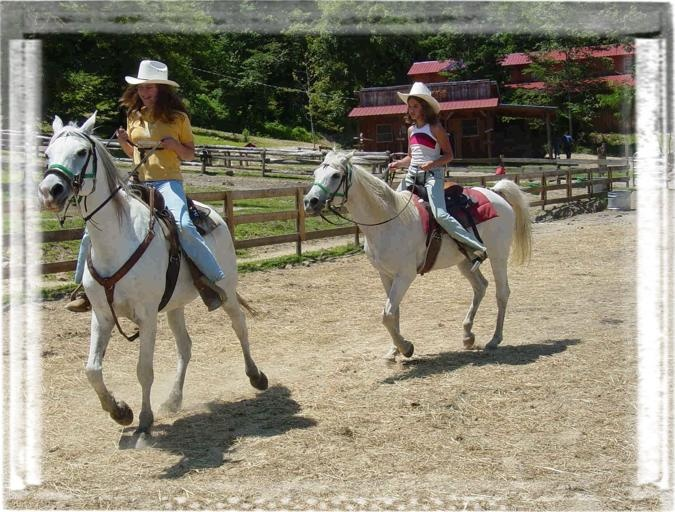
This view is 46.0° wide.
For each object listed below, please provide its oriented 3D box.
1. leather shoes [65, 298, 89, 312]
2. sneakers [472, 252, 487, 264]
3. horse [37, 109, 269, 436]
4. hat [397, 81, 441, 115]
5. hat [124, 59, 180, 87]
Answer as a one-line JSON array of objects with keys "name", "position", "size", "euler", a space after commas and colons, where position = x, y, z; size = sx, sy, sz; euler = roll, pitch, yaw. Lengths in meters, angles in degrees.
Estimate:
[{"name": "leather shoes", "position": [-2.980, 0.567, 9.072], "size": [0.237, 0.156, 0.084], "euler": [-13, 22, 12]}, {"name": "sneakers", "position": [2.002, 0.019, 10.959], "size": [0.214, 0.112, 0.197], "euler": [-14, -7, -9]}, {"name": "horse", "position": [-2.190, 0.181, 8.742], "size": [0.596, 3.433, 2.285], "euler": [2, 9, 39]}, {"name": "hat", "position": [1.144, -2.197, 11.056], "size": [0.518, 0.525, 1.337], "euler": [-3, 6, 5]}, {"name": "hat", "position": [-2.039, -2.025, 8.990], "size": [0.416, 0.168, 0.468], "euler": [1, 3, 28]}]
